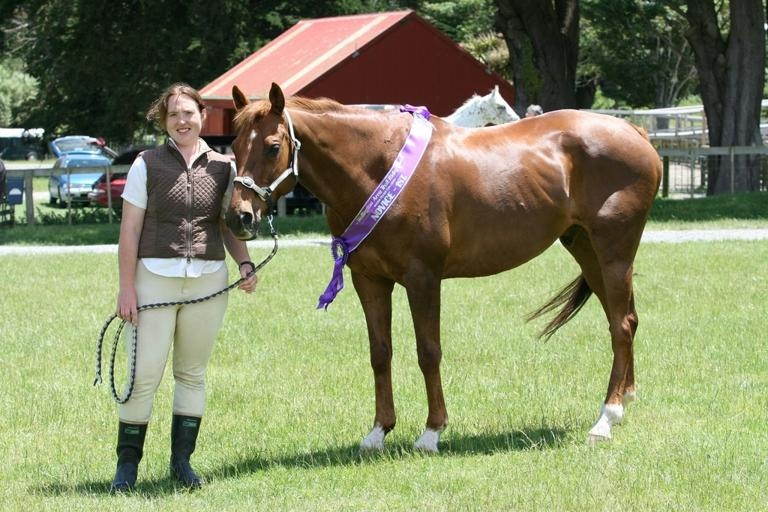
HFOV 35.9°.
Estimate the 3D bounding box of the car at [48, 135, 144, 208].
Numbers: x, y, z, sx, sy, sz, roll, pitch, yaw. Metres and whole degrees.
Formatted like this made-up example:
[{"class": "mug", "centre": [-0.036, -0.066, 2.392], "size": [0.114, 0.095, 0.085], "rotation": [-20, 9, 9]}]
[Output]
[{"class": "car", "centre": [-10.248, -3.234, 41.629], "size": [2.724, 3.056, 6.830], "rotation": [-3, 1, -19]}]
